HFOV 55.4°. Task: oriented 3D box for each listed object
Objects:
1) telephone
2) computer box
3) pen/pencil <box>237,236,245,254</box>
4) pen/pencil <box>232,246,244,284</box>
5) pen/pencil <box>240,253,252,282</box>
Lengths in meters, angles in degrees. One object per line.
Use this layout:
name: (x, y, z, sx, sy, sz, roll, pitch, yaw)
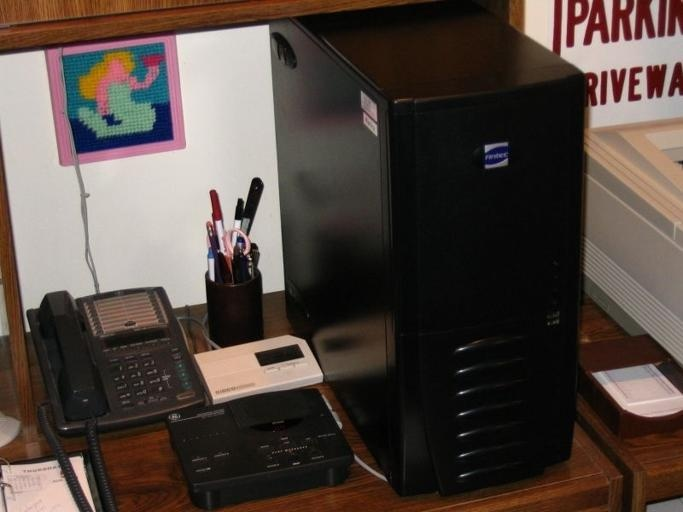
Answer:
telephone: (-0.391, 0.160, 1.126, 0.254, 0.100, 0.319, -3, 34, -26)
computer box: (0.122, -0.047, 1.036, 0.355, 0.629, 0.522, -14, 26, -15)
pen/pencil: (-0.194, -0.020, 1.259, 0.019, 0.034, 0.018, -15, 50, -20)
pen/pencil: (-0.195, 0.016, 1.227, 0.016, 0.073, 0.017, -1, 0, 2)
pen/pencil: (-0.180, 0.022, 1.227, 0.020, 0.071, 0.018, -19, 38, -29)
